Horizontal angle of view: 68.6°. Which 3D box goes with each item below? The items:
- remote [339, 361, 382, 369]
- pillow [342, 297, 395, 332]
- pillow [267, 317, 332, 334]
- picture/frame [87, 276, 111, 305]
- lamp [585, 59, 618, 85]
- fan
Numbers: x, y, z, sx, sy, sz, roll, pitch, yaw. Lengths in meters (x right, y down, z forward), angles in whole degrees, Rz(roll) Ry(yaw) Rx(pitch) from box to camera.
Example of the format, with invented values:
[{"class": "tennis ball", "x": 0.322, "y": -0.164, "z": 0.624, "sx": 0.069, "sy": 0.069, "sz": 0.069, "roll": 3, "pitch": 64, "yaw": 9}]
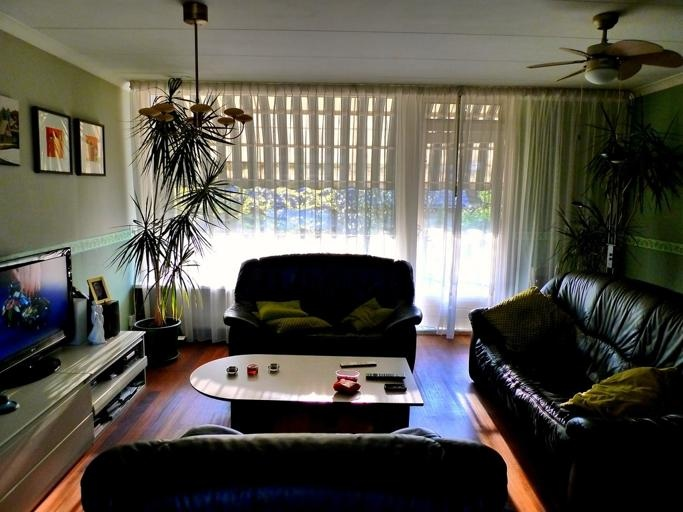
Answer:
[{"class": "remote", "x": 0.142, "y": 0.804, "z": 3.683, "sx": 0.303, "sy": 0.059, "sz": 0.090, "roll": 1, "pitch": 26, "yaw": -4}, {"class": "pillow", "x": 0.267, "y": 0.535, "z": 4.572, "sx": 0.358, "sy": 0.089, "sz": 0.251, "roll": -25, "pitch": 43, "yaw": -27}, {"class": "pillow", "x": -0.364, "y": 0.598, "z": 4.413, "sx": 0.325, "sy": 0.073, "sz": 0.214, "roll": -1, "pitch": 6, "yaw": -17}, {"class": "picture/frame", "x": -2.144, "y": 0.301, "z": 4.402, "sx": 0.047, "sy": 0.216, "sz": 0.183, "roll": -20, "pitch": 5, "yaw": 25}, {"class": "lamp", "x": 1.831, "y": -1.298, "z": 3.514, "sx": 0.206, "sy": 0.155, "sz": 0.196, "roll": 7, "pitch": 14, "yaw": 27}, {"class": "fan", "x": 1.965, "y": -1.358, "z": 3.538, "sx": 0.715, "sy": 0.342, "sz": 0.719, "roll": 3, "pitch": 6, "yaw": 14}]
